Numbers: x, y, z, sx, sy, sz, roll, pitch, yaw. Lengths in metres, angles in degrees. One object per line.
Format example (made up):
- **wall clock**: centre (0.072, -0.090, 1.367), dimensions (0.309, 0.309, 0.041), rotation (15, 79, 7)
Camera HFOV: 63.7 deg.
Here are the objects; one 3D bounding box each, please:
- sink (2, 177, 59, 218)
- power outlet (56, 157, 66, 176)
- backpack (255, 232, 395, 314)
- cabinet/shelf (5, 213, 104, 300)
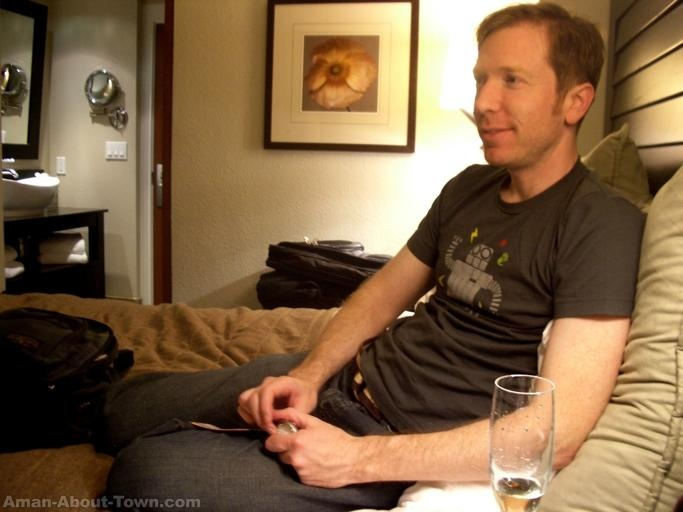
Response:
- **sink**: centre (-2.079, -0.415, 3.651), dimensions (0.159, 0.252, 0.488), rotation (4, 7, 7)
- **power outlet**: centre (-2.299, -0.744, 4.513), dimensions (0.112, 0.160, 0.022), rotation (6, 8, 25)
- **backpack**: centre (-0.169, 0.103, 2.862), dimensions (0.456, 0.165, 0.467), rotation (9, 12, 42)
- **cabinet/shelf**: centre (-2.009, -0.037, 3.869), dimensions (0.527, 0.542, 0.569), rotation (4, 6, 42)
